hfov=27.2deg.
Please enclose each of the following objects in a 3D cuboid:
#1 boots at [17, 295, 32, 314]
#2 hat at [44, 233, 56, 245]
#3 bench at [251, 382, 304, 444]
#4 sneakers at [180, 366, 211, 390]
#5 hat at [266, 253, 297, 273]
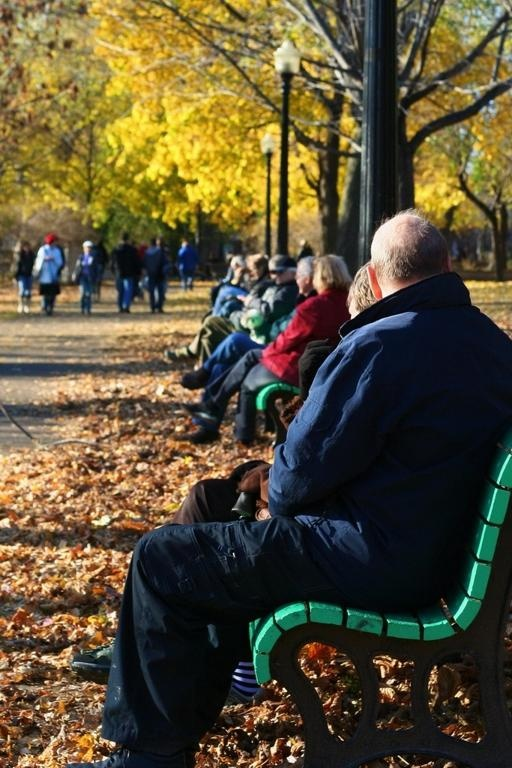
[{"bbox_3d":[-1.373,-0.466,6.294,0.044,0.085,0.121,1,20,-14],"label":"boots"},{"bbox_3d":[-1.203,-0.845,6.195,0.069,0.052,0.050,-36,20,-17],"label":"hat"},{"bbox_3d":[0.104,0.149,5.911,0.177,0.157,0.371,-15,13,-6],"label":"bench"},{"bbox_3d":[-0.440,-0.033,7.684,0.282,0.176,0.099,4,2,7],"label":"sneakers"},{"bbox_3d":[0.190,-0.910,7.994,0.204,0.152,0.137,-9,16,-35],"label":"hat"}]
